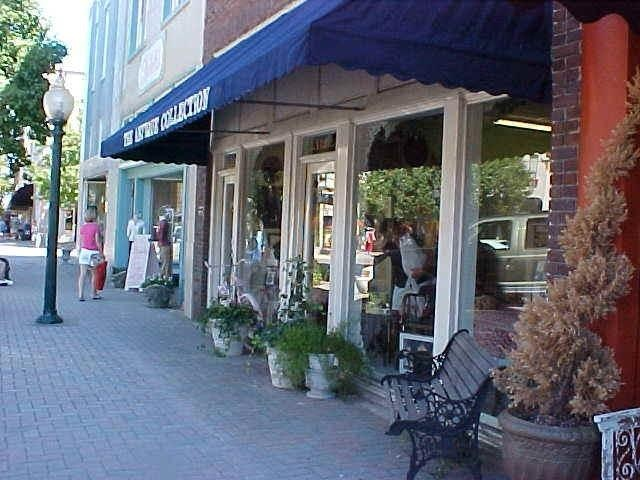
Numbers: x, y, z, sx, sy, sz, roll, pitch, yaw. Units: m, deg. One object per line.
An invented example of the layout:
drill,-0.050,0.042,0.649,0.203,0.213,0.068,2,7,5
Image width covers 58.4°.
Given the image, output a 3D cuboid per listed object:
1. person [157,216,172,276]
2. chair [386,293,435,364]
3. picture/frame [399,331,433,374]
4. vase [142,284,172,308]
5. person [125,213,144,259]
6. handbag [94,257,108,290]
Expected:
person,-4.347,0.216,16.094,0.318,1.551,0.526,2,1,23
chair,1.028,1.010,6.420,0.371,0.808,0.783,2,-5,-7
picture/frame,1.007,1.173,5.924,0.167,0.507,0.486,-1,2,-32
vase,-3.732,1.303,13.156,0.472,0.418,0.556,-3,-6,32
person,-5.158,-0.236,16.047,0.423,1.050,1.133,2,1,-17
handbag,-5.537,0.857,14.280,0.188,0.852,0.465,3,-1,6
